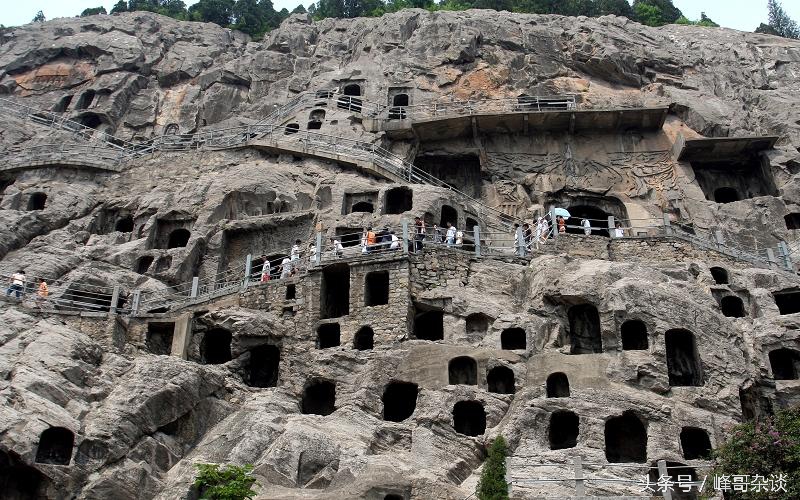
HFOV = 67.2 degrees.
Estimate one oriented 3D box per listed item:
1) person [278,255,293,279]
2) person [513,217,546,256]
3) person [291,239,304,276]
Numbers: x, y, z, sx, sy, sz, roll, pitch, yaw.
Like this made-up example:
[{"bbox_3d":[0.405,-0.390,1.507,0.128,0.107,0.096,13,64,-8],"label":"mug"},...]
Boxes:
[{"bbox_3d":[-4.836,0.745,25.396,0.473,1.078,0.474,11,8,-13],"label":"person"},{"bbox_3d":[5.633,-0.516,26.751,1.693,0.871,2.307,-2,-14,0],"label":"person"},{"bbox_3d":[-4.496,0.352,26.185,0.756,1.727,0.743,-1,-46,-10],"label":"person"}]
